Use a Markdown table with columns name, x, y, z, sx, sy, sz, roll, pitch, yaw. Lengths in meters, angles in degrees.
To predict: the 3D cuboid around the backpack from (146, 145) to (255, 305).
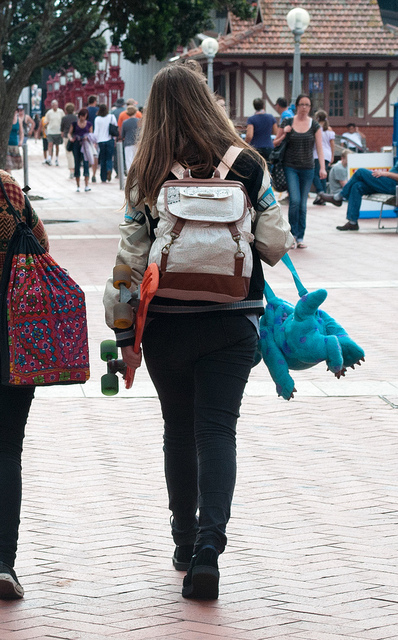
| name | x | y | z | sx | sy | sz | roll | pitch | yaw |
| --- | --- | --- | --- | --- | --- | --- | --- | --- | --- |
| backpack | 0.008 | -0.229 | 2.223 | 0.280 | 0.350 | 0.108 | 0 | 6 | 1 |

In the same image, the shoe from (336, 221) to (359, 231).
| name | x | y | z | sx | sy | sz | roll | pitch | yaw |
| --- | --- | --- | --- | --- | --- | --- | --- | --- | --- |
| shoe | 2.837 | -1.756 | 14.656 | 0.480 | 0.149 | 0.207 | -2 | 6 | -30 |

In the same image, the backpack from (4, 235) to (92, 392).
| name | x | y | z | sx | sy | sz | roll | pitch | yaw |
| --- | --- | --- | --- | --- | --- | --- | --- | --- | --- |
| backpack | -0.442 | -0.030 | 2.277 | 0.238 | 0.431 | 0.161 | -1 | 6 | -13 |

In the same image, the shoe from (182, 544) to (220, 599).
| name | x | y | z | sx | sy | sz | roll | pitch | yaw |
| --- | --- | --- | --- | --- | --- | --- | --- | --- | --- |
| shoe | 0.004 | 0.731 | 2.269 | 0.107 | 0.238 | 0.214 | 0 | 6 | 0 |

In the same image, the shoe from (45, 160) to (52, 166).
| name | x | y | z | sx | sy | sz | roll | pitch | yaw |
| --- | --- | --- | --- | --- | --- | --- | --- | --- | --- |
| shoe | -6.055 | -6.373 | 31.623 | 0.303 | 0.264 | 0.176 | 15 | 3 | -25 |

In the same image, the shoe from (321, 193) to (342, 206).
| name | x | y | z | sx | sy | sz | roll | pitch | yaw |
| --- | --- | --- | --- | --- | --- | --- | --- | --- | --- |
| shoe | 2.652 | -2.448 | 15.693 | 0.397 | 0.275 | 0.878 | 1 | 5 | 7 |

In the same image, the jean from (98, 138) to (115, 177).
| name | x | y | z | sx | sy | sz | roll | pitch | yaw |
| --- | --- | --- | --- | --- | --- | --- | --- | --- | --- |
| jean | -2.854 | -5.074 | 24.170 | 0.490 | 1.010 | 1.086 | 0 | 5 | -6 |

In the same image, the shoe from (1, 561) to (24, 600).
| name | x | y | z | sx | sy | sz | roll | pitch | yaw |
| --- | --- | --- | --- | --- | --- | --- | --- | --- | --- |
| shoe | -0.543 | 0.787 | 2.358 | 0.059 | 0.056 | 0.135 | -6 | -35 | 2 |

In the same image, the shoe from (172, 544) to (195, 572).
| name | x | y | z | sx | sy | sz | roll | pitch | yaw |
| --- | --- | --- | --- | --- | --- | --- | --- | --- | --- |
| shoe | -0.060 | 0.810 | 2.696 | 0.062 | 0.086 | 0.147 | 1 | 5 | -5 |

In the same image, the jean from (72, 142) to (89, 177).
| name | x | y | z | sx | sy | sz | roll | pitch | yaw |
| --- | --- | --- | --- | --- | --- | --- | --- | --- | --- |
| jean | -3.449 | -4.670 | 22.798 | 0.473 | 1.137 | 1.976 | -1 | 5 | -9 |

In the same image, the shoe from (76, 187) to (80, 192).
| name | x | y | z | sx | sy | sz | roll | pitch | yaw |
| --- | --- | --- | --- | --- | --- | --- | --- | --- | --- |
| shoe | -3.442 | -3.729 | 22.264 | 0.114 | 0.161 | 0.127 | -1 | 9 | -4 |
